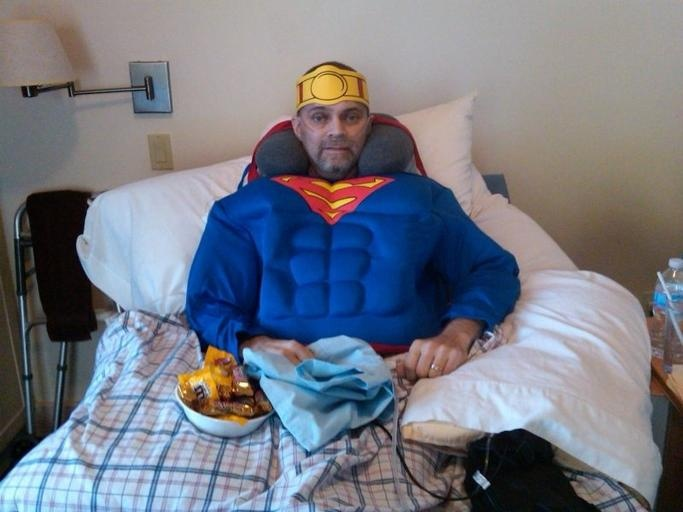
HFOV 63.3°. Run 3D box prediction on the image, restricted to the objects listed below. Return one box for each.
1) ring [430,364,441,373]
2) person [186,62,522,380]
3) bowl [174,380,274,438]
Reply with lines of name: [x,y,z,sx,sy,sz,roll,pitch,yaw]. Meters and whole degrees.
ring: [0.284,0.340,1.664,0.022,0.025,0.011,1,4,18]
person: [0.038,-0.119,2.216,1.150,0.447,1.545,0,49,-2]
bowl: [-0.326,0.477,1.578,0.245,0.074,0.251,9,-11,2]
